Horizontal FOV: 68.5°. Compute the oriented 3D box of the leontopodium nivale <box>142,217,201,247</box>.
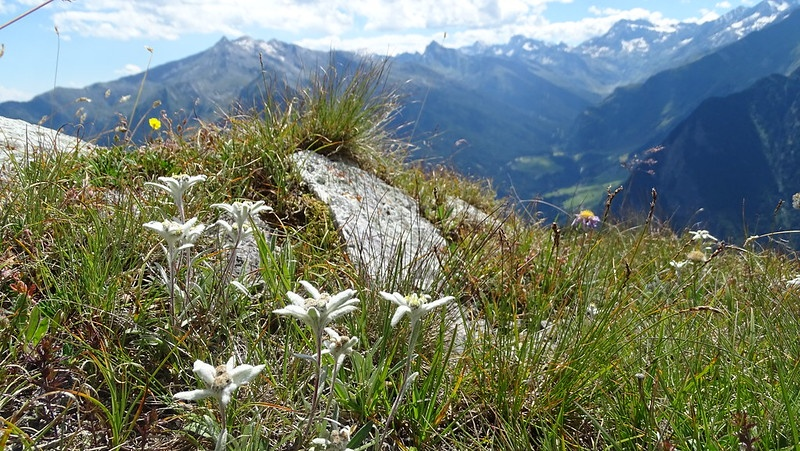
[{"bbox_3d":[-2.178,0.047,5.601,0.357,0.186,0.371,-1,-10,1],"label":"leontopodium nivale"}]

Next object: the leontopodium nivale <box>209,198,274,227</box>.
[{"bbox_3d":[-1.505,-0.161,5.891,0.466,0.227,0.458,0,0,-44],"label":"leontopodium nivale"}]

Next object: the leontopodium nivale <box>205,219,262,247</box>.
[{"bbox_3d":[-1.635,0.066,5.856,0.442,0.215,0.487,6,2,-24],"label":"leontopodium nivale"}]

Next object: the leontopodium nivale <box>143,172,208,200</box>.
[{"bbox_3d":[-2.317,-0.408,5.936,0.454,0.232,0.532,-6,0,15],"label":"leontopodium nivale"}]
